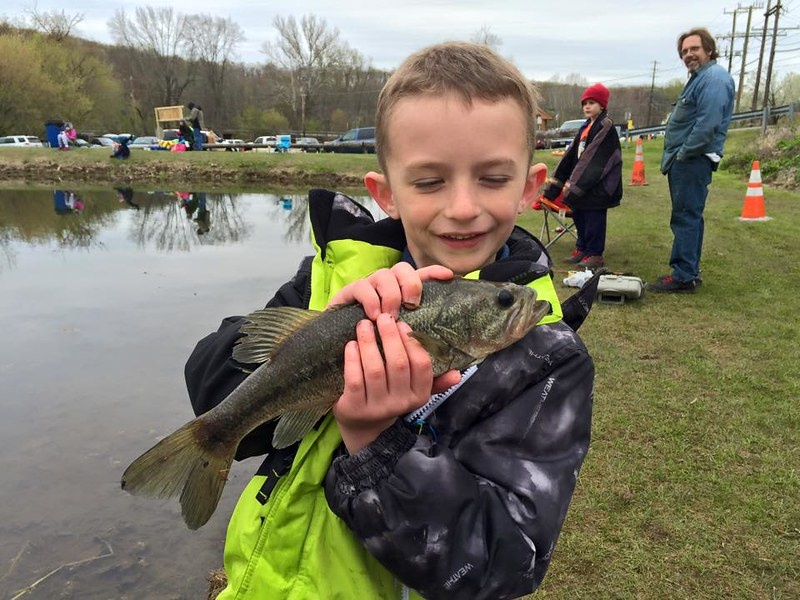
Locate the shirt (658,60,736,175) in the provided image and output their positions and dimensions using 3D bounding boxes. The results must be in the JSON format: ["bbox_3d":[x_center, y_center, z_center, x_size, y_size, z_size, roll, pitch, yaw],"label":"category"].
[{"bbox_3d":[3.610,-2.195,8.026,0.770,1.336,0.838,9,21,35],"label":"shirt"}]
